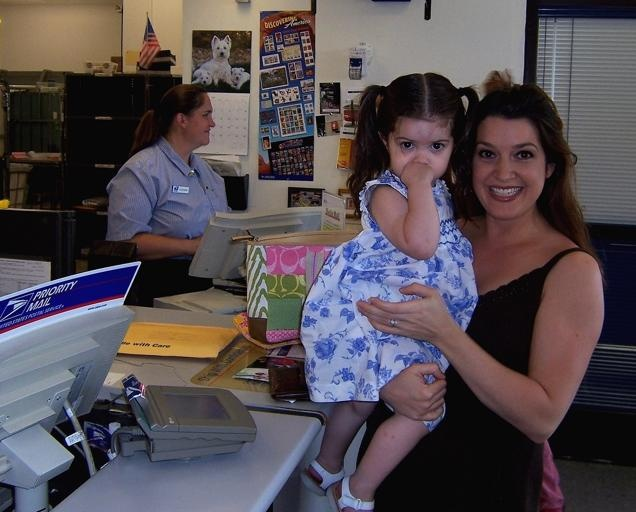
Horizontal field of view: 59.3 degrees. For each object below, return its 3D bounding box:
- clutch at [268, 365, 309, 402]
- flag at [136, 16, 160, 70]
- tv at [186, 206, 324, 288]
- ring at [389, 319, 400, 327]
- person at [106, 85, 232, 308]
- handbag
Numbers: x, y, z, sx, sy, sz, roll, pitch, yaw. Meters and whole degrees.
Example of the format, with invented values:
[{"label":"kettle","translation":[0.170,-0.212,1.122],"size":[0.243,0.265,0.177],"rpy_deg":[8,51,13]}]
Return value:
[{"label":"clutch","translation":[-0.087,0.364,1.615],"size":[0.094,0.071,0.022],"rpy_deg":[3,-29,-25]},{"label":"flag","translation":[-1.596,-2.003,5.281],"size":[0.204,0.459,0.601],"rpy_deg":[-3,13,-17]},{"label":"tv","translation":[-0.258,-0.055,2.598],"size":[0.510,0.372,0.090],"rpy_deg":[-4,36,-22]},{"label":"ring","translation":[0.214,0.190,1.596],"size":[0.021,0.021,0.007],"rpy_deg":[-1,5,24]},{"label":"person","translation":[-0.911,-0.435,3.361],"size":[0.726,1.181,1.140],"rpy_deg":[-1,12,-9]},{"label":"handbag","translation":[-0.077,0.104,1.750],"size":[0.314,0.298,0.133],"rpy_deg":[0,11,-7]}]
